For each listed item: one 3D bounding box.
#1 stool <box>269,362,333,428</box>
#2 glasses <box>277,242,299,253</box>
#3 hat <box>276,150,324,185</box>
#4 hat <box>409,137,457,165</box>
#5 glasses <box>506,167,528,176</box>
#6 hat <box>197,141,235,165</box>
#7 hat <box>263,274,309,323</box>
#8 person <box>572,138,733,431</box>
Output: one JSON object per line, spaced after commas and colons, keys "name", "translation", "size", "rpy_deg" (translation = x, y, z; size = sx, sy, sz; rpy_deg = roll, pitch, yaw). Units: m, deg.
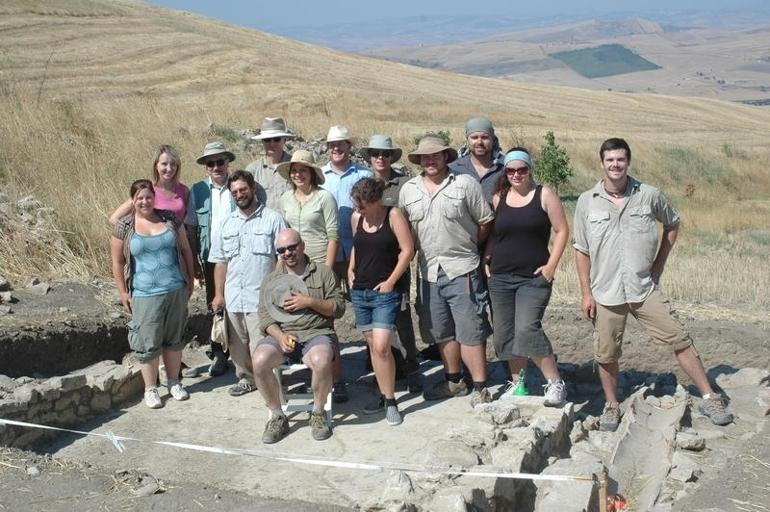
{"name": "stool", "translation": [-1.049, 1.846, 8.665], "size": [0.824, 0.711, 0.810], "rpy_deg": [-3, 55, 2]}
{"name": "glasses", "translation": [-1.173, -0.095, 8.261], "size": [0.300, 0.160, 0.100], "rpy_deg": [-5, 21, -9]}
{"name": "hat", "translation": [-1.096, -1.206, 9.000], "size": [0.494, 0.265, 0.510], "rpy_deg": [17, -8, 43]}
{"name": "hat", "translation": [0.612, -1.367, 8.711], "size": [0.642, 0.478, 0.692], "rpy_deg": [-1, 21, 2]}
{"name": "glasses", "translation": [1.608, -1.042, 8.271], "size": [0.265, 0.109, 0.058], "rpy_deg": [5, 22, 17]}
{"name": "hat", "translation": [-2.457, -1.441, 9.295], "size": [0.462, 0.187, 0.473], "rpy_deg": [-23, -4, 35]}
{"name": "hat", "translation": [-1.261, 0.524, 8.397], "size": [0.561, 0.575, 0.168], "rpy_deg": [-34, -6, 6]}
{"name": "person", "translation": [3.147, 0.311, 8.393], "size": [1.473, 3.378, 1.031], "rpy_deg": [-2, 21, -1]}
